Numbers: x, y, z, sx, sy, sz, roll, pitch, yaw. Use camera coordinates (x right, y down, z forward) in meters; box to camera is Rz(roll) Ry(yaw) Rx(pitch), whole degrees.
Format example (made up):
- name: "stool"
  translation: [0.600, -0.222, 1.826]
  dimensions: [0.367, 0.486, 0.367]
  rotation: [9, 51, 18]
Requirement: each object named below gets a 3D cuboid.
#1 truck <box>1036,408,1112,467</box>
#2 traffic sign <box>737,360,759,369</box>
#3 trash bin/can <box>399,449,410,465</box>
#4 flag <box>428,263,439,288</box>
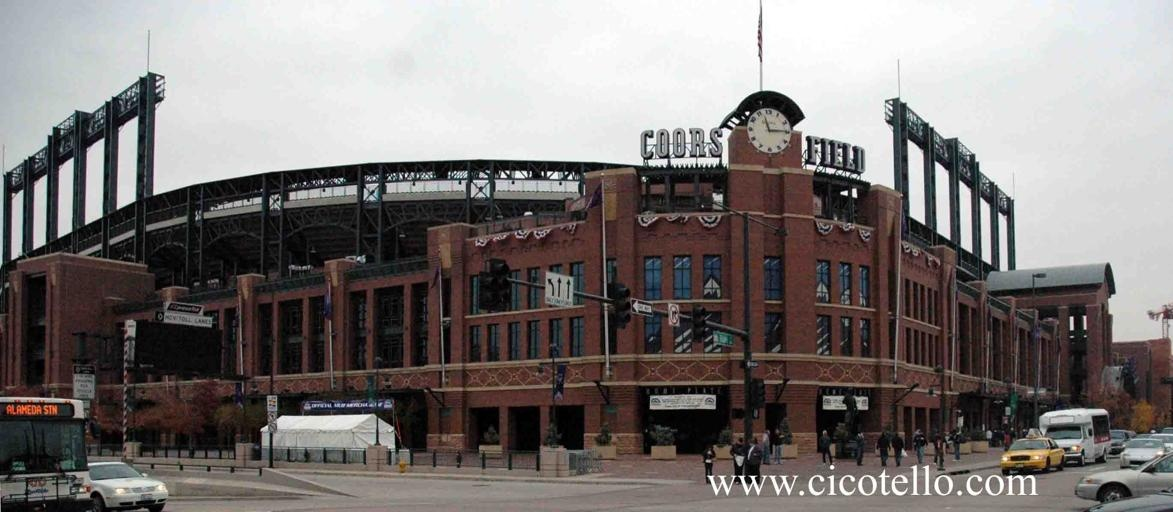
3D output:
- name: "truck"
  translation: [69.648, 25.250, 201.820]
  dimensions: [6.176, 5.328, 11.429]
  rotation: [-7, -14, 37]
- name: "traffic sign"
  translation: [21.078, 14.464, 191.228]
  dimensions: [1.996, 0.833, 2.624]
  rotation: [4, -5, -44]
- name: "trash bin/can"
  translation: [-26.459, 28.402, 202.079]
  dimensions: [2.339, 1.975, 1.640]
  rotation: [1, 0, 7]
- name: "flag"
  translation: [-23.690, 2.950, 224.210]
  dimensions: [0.879, 3.458, 2.154]
  rotation: [11, -21, -37]
